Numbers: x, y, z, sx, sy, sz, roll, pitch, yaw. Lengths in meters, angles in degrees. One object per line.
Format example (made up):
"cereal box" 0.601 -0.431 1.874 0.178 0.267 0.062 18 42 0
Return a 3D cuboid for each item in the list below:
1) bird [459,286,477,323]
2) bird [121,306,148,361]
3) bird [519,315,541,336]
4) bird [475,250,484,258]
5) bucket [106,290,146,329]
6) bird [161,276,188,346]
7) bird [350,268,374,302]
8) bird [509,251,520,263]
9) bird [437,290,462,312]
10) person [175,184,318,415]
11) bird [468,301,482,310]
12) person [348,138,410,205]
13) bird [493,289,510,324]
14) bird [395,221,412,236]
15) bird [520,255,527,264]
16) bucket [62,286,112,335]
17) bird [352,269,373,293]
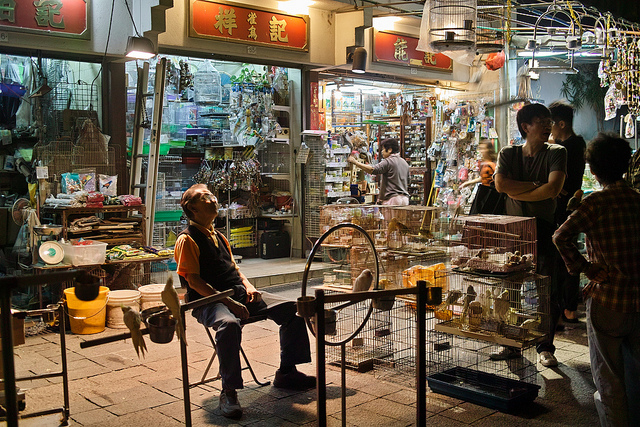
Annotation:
"bird" 1.313 0.815 4.639 0.098 0.309 0.163 5 11 34
"bird" -1.316 0.826 3.748 0.121 0.427 0.171 -18 1 -42
"bird" 1.821 0.975 4.526 0.161 0.186 0.147 1 3 26
"bird" 1.426 0.373 4.652 0.080 0.053 0.078 3 10 5
"bucket" -2.475 1.263 6.714 0.464 0.402 0.438 1 -3 0
"bird" -1.035 0.715 3.778 0.106 0.541 0.130 7 12 41
"bird" 0.370 0.571 4.303 0.105 0.208 0.071 23 -5 6
"bird" 1.709 0.397 4.580 0.055 0.068 0.181 4 10 34
"bird" 1.208 0.778 4.713 0.144 0.183 0.114 2 9 18
"person" -0.773 0.716 4.908 0.887 1.917 1.044 -8 11 -38
"bird" 1.366 0.817 4.591 0.115 0.065 0.036 1 9 13
"person" 1.212 -0.702 8.927 0.610 1.104 0.406 0 9 5
"bird" 1.555 0.802 4.483 0.130 0.286 0.128 2 9 19
"bird" 0.933 0.169 5.863 0.173 0.125 0.209 -3 9 -16
"bird" 1.788 0.409 4.603 0.048 0.067 0.018 -1 -37 47
"bucket" -2.827 1.220 6.472 0.560 0.477 0.538 0 -1 0
"bird" 0.354 0.565 4.268 0.139 0.177 0.278 1 9 13
